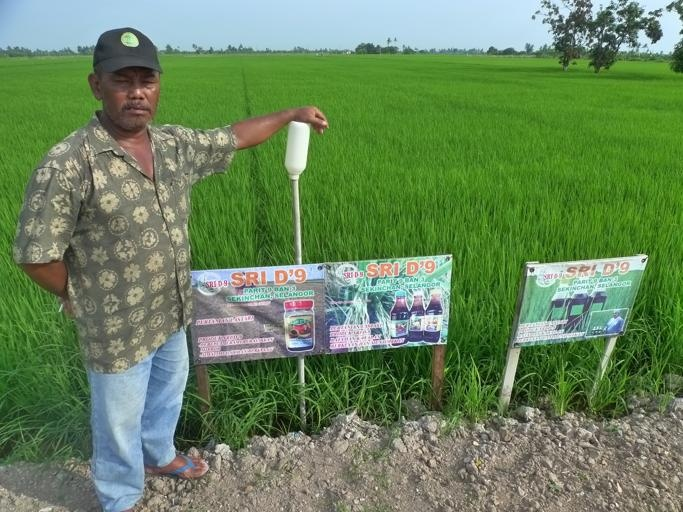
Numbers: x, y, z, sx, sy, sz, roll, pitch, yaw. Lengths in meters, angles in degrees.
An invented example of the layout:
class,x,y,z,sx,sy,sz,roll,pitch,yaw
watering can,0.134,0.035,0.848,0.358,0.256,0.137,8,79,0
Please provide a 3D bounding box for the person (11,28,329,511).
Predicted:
class,x,y,z,sx,sy,sz,roll,pitch,yaw
person,-1.131,0.148,3.151,0.600,2.801,1.295,13,25,31

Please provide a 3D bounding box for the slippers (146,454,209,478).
class,x,y,z,sx,sy,sz,roll,pitch,yaw
slippers,-1.061,1.364,3.427,0.409,0.077,0.171,5,41,4

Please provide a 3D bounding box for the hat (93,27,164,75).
class,x,y,z,sx,sy,sz,roll,pitch,yaw
hat,-1.174,-1.139,2.881,0.321,0.223,0.420,-11,26,-38
